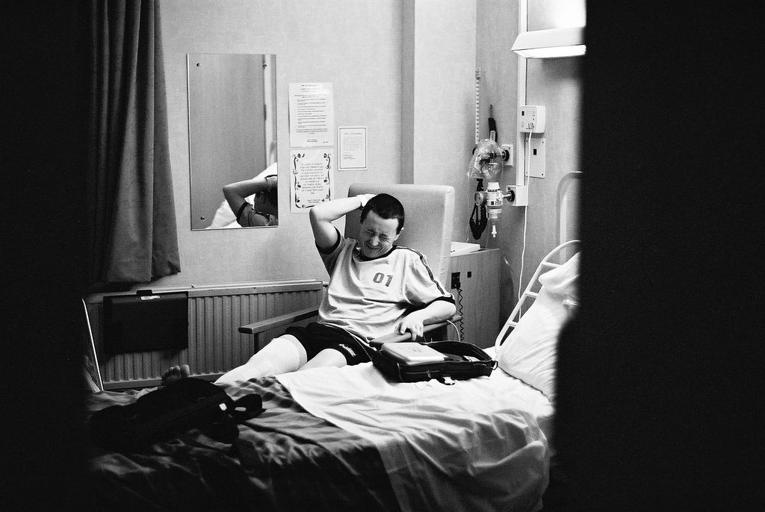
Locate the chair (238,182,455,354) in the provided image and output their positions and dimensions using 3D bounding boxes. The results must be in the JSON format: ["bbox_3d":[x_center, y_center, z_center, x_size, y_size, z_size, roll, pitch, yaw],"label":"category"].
[{"bbox_3d":[-0.257,0.031,3.084,0.764,1.149,0.982,3,1,37],"label":"chair"}]

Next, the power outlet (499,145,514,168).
[{"bbox_3d":[0.700,-0.571,3.360,0.046,0.126,0.104,4,7,-19],"label":"power outlet"}]

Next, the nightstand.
[{"bbox_3d":[0.577,0.223,3.475,0.256,0.455,0.237,-4,-19,18],"label":"nightstand"}]

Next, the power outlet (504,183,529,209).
[{"bbox_3d":[0.742,-0.334,3.329,0.107,0.154,0.157,0,3,-13],"label":"power outlet"}]

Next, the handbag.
[{"bbox_3d":[0.185,0.368,2.079,0.271,0.064,0.198,-2,6,-20],"label":"handbag"}]

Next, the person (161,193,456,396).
[{"bbox_3d":[-0.241,0.173,2.484,0.798,0.820,1.396,5,8,23],"label":"person"}]
